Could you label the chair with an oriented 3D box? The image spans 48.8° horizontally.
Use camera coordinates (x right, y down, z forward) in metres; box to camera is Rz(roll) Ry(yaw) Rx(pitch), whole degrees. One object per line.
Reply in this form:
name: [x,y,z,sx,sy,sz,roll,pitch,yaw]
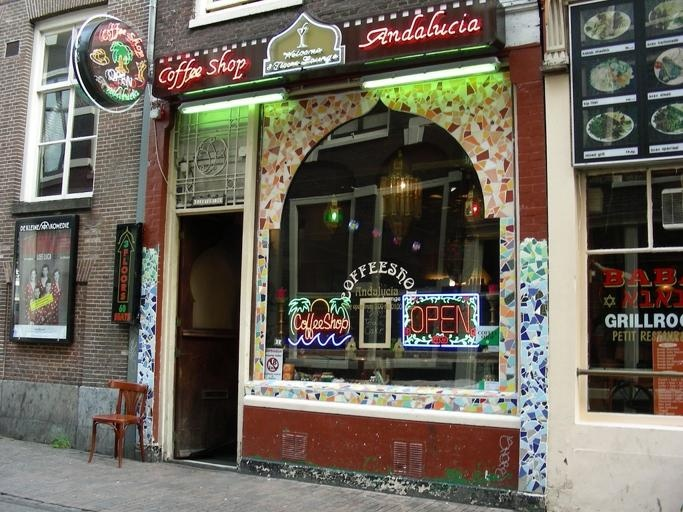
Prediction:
chair: [-3.459,2.611,11.729,0.719,1.229,0.719,-2,-8,35]
